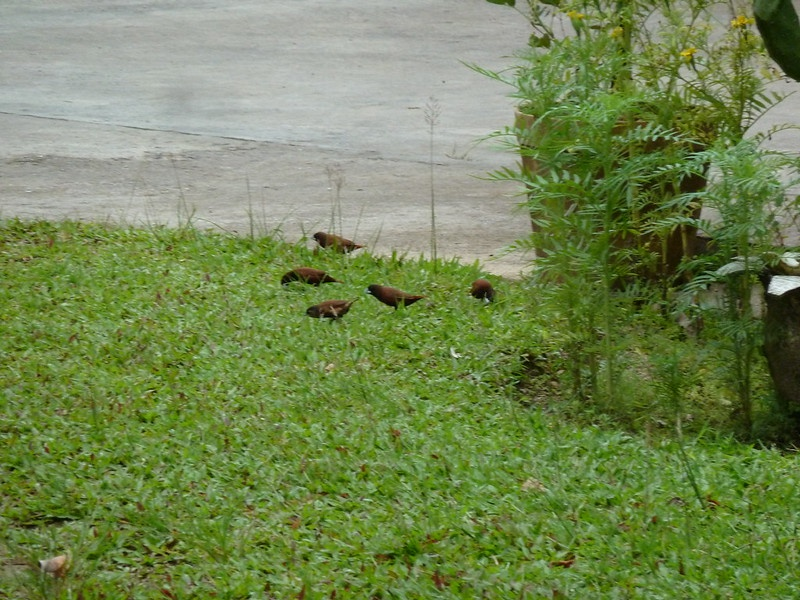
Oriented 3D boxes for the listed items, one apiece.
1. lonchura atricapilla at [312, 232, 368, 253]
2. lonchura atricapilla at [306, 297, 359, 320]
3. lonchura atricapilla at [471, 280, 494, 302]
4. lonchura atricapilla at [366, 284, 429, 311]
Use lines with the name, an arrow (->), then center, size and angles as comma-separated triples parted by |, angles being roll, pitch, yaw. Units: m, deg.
lonchura atricapilla -> -0.456, -0.416, 7.357 | 0.225, 0.129, 0.456 | -6, 12, -23
lonchura atricapilla -> -0.462, 0.059, 6.418 | 0.271, 0.129, 0.124 | -3, 17, -14
lonchura atricapilla -> 0.554, -0.066, 6.807 | 0.160, 0.147, 0.120 | 1, 17, 2
lonchura atricapilla -> -0.051, -0.030, 6.652 | 0.418, 0.158, 0.240 | 2, 14, 8
